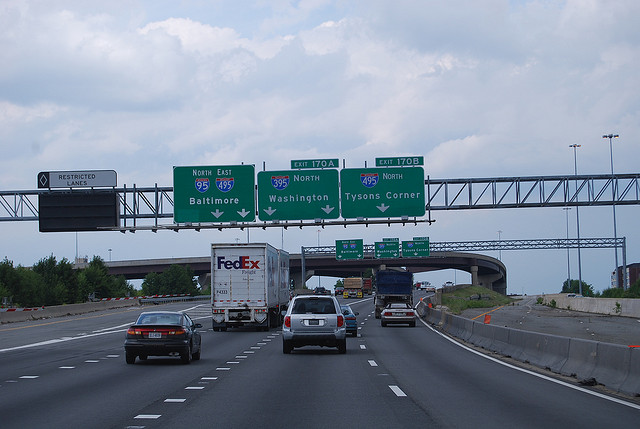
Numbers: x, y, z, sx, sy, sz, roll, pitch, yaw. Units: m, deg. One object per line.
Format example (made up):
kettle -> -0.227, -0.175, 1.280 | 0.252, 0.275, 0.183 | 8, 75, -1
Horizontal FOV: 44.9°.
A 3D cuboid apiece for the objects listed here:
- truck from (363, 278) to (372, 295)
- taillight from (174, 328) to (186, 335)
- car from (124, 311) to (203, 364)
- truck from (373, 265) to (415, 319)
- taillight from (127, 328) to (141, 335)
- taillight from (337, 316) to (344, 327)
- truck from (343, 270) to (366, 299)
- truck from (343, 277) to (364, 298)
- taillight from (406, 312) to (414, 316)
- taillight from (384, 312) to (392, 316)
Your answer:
truck -> 8.538, 13.737, 143.299 | 1.860, 3.980, 2.364 | 0, 8, 5
taillight -> -5.128, 4.273, 28.384 | 0.117, 0.242, 0.428 | -6, -5, 45
car -> -6.096, 4.858, 30.810 | 2.384, 1.997, 5.566 | 1, -6, -4
truck -> 6.643, 6.305, 67.433 | 3.344, 4.032, 6.315 | 1, 2, 4
taillight -> -6.873, 4.361, 28.494 | 0.370, 0.162, 0.287 | 3, 8, 5
taillight -> 0.823, 4.351, 31.609 | 0.279, 0.420, 0.091 | 1, -4, -41
truck -> 5.943, 12.166, 130.900 | 3.232, 3.780, 5.889 | 0, -10, 1
truck -> 5.583, 12.213, 130.703 | 2.626, 3.644, 4.639 | -1, -3, 8
taillight -> 5.873, 6.476, 50.550 | 0.451, 0.261, 0.159 | -3, -3, 4
taillight -> 4.475, 6.508, 50.804 | 0.558, 0.254, 0.055 | -5, -4, 32
